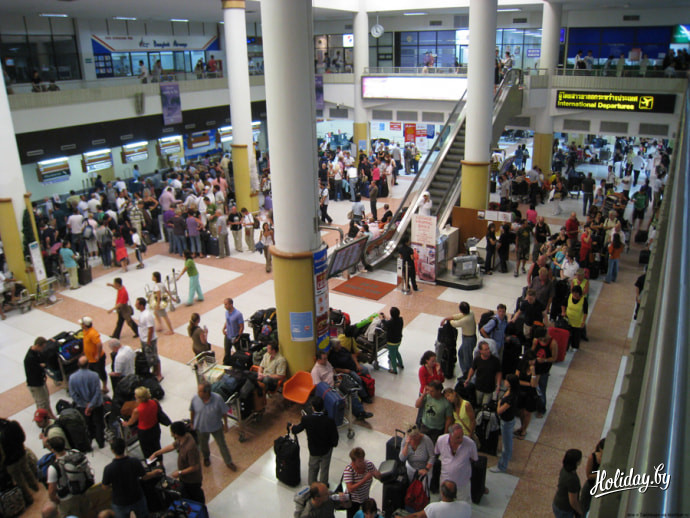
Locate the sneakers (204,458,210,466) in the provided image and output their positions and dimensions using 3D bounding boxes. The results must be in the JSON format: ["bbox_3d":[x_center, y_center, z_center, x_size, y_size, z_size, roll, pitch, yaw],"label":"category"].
[{"bbox_3d":[-2.207,3.234,8.459,0.087,0.120,0.081,-5,18,-13],"label":"sneakers"}]

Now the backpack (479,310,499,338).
[{"bbox_3d":[2.493,1.150,9.521,0.334,0.494,0.471,11,-17,17],"label":"backpack"}]

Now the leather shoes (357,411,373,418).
[{"bbox_3d":[0.346,2.741,9.444,0.255,0.125,0.090,0,20,12],"label":"leather shoes"}]

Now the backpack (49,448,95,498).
[{"bbox_3d":[-3.625,2.856,7.089,0.441,0.548,0.416,-13,14,-43],"label":"backpack"}]

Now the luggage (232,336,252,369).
[{"bbox_3d":[-1.886,1.732,9.680,0.306,0.570,0.557,1,12,4],"label":"luggage"}]

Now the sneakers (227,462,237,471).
[{"bbox_3d":[-1.775,3.274,8.362,0.175,0.077,0.081,17,33,33],"label":"sneakers"}]

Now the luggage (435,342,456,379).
[{"bbox_3d":[2.017,1.880,10.364,0.352,0.614,0.373,0,2,-12],"label":"luggage"}]

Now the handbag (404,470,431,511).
[{"bbox_3d":[0.955,3.023,6.976,0.310,0.578,0.294,1,18,7],"label":"handbag"}]

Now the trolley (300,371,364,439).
[{"bbox_3d":[-0.058,2.510,9.054,0.938,1.228,0.884,-7,12,-40],"label":"trolley"}]

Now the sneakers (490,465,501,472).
[{"bbox_3d":[2.319,3.220,8.190,0.147,0.061,0.111,-1,18,-1],"label":"sneakers"}]

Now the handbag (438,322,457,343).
[{"bbox_3d":[1.946,1.389,10.036,0.275,0.766,0.243,8,46,17],"label":"handbag"}]

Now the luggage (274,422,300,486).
[{"bbox_3d":[-0.887,2.959,8.047,0.386,0.901,0.333,9,20,24],"label":"luggage"}]

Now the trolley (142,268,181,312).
[{"bbox_3d":[-4.236,0.749,12.413,0.765,0.977,0.571,-8,23,-3],"label":"trolley"}]

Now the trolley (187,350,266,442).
[{"bbox_3d":[-2.198,2.347,9.437,1.260,0.883,0.775,17,17,16],"label":"trolley"}]
